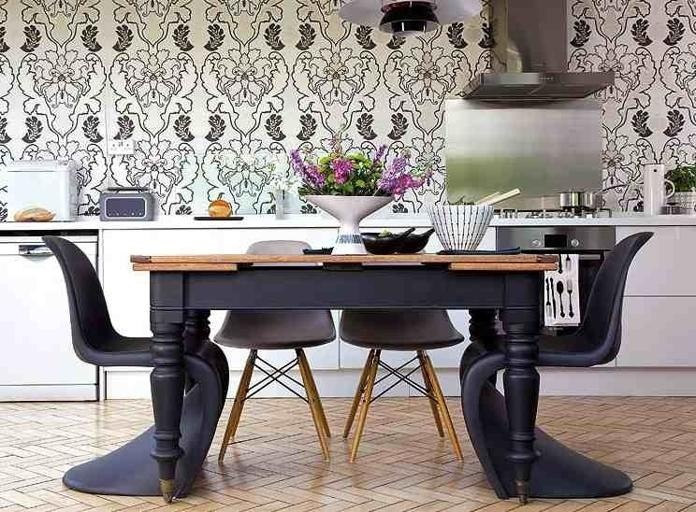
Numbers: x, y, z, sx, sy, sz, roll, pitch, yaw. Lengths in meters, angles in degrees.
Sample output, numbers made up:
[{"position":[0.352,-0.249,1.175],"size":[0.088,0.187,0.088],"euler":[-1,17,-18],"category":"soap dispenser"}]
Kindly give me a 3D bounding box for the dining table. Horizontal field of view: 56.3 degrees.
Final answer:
[{"position":[-0.005,0.472,2.511],"size":[1.547,0.972,0.433],"euler":[1,6,11],"category":"dining table"}]

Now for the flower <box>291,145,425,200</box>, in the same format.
[{"position":[-0.021,-0.353,2.819],"size":[0.485,0.200,0.499],"euler":[3,11,20],"category":"flower"}]

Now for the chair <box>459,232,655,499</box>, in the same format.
[{"position":[0.883,0.434,2.807],"size":[0.811,1.012,0.639],"euler":[-3,-1,8],"category":"chair"}]

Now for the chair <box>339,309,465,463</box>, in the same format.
[{"position":[0.245,0.463,3.021],"size":[0.523,0.737,0.539],"euler":[1,-5,4],"category":"chair"}]

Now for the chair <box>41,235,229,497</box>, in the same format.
[{"position":[-0.769,0.531,3.193],"size":[1.079,1.295,0.823],"euler":[0,-1,-4],"category":"chair"}]

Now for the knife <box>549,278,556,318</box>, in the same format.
[{"position":[1.237,0.262,3.952],"size":[0.060,0.215,0.025],"euler":[1,0,4],"category":"knife"}]

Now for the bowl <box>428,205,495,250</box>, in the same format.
[{"position":[0.492,-0.117,2.760],"size":[0.272,0.182,0.274],"euler":[2,3,0],"category":"bowl"}]

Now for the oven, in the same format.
[{"position":[1.260,0.167,4.120],"size":[0.711,0.607,0.461],"euler":[1,-20,-1],"category":"oven"}]

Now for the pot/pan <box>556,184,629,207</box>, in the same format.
[{"position":[1.672,-0.402,4.469],"size":[0.548,0.188,0.234],"euler":[2,-3,-33],"category":"pot/pan"}]

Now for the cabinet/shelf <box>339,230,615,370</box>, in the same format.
[{"position":[1.122,0.423,4.356],"size":[1.658,0.972,0.882],"euler":[0,-5,-1],"category":"cabinet/shelf"}]

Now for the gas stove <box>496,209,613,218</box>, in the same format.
[{"position":[1.425,-0.283,4.328],"size":[0.872,0.053,0.786],"euler":[0,4,5],"category":"gas stove"}]

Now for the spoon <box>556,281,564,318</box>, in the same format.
[{"position":[1.294,0.246,3.952],"size":[0.041,0.184,0.023],"euler":[1,2,4],"category":"spoon"}]

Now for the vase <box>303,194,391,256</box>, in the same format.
[{"position":[0.005,-0.123,2.777],"size":[0.398,0.241,0.360],"euler":[-1,-1,-14],"category":"vase"}]

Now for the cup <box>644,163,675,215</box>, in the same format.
[{"position":[2.138,-0.461,4.488],"size":[0.267,0.345,0.158],"euler":[-5,7,-39],"category":"cup"}]

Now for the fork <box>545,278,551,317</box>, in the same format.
[{"position":[1.210,0.245,3.947],"size":[0.046,0.167,0.025],"euler":[0,-1,0],"category":"fork"}]

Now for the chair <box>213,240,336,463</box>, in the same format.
[{"position":[-0.344,0.405,3.030],"size":[0.603,0.905,0.724],"euler":[-1,-3,-9],"category":"chair"}]
